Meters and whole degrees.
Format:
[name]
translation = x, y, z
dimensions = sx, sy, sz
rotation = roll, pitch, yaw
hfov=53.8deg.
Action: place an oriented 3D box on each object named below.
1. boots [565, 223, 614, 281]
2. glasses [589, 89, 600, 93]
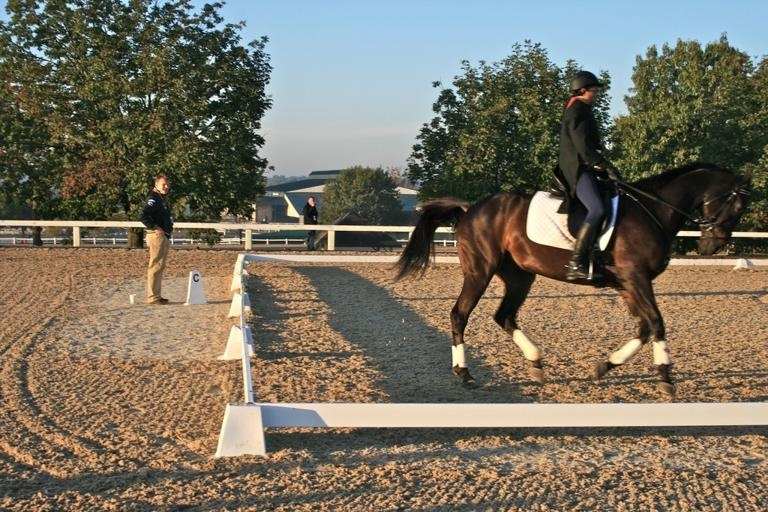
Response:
[boots]
translation = 2.616, -0.048, 9.975
dimensions = 0.392, 0.815, 0.182
rotation = 2, 13, 18
[glasses]
translation = 2.816, -2.210, 10.109
dimensions = 0.139, 0.050, 0.154
rotation = 3, 10, 7
